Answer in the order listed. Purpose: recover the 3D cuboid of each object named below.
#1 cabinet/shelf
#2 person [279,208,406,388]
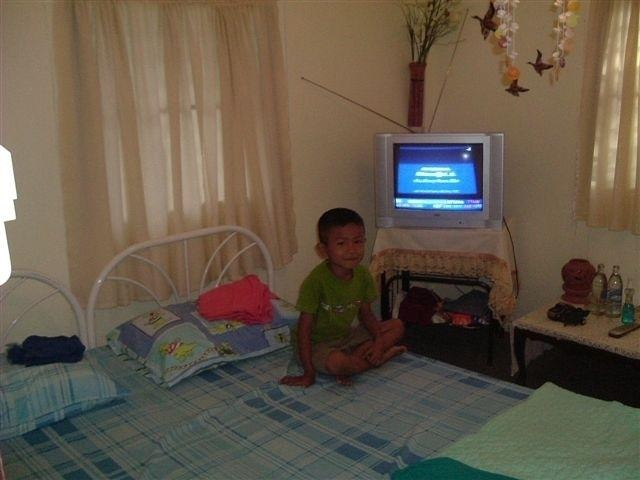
[{"bbox_3d":[0.962,0.342,4.128,1.186,1.083,0.886,3,10,24],"label":"cabinet/shelf"},{"bbox_3d":[0.097,0.270,2.597,0.843,0.843,0.535,-12,18,-39],"label":"person"}]
